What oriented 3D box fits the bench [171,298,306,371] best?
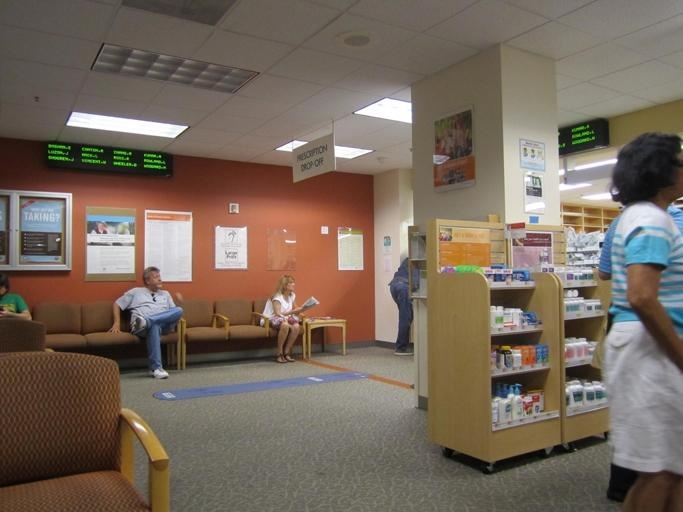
[{"bbox_3d":[-1.939,1.271,8.428,1.615,1.040,1.016,0,-1,-19],"label":"bench"}]

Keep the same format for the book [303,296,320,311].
[{"bbox_3d":[-0.565,0.870,9.058,0.221,0.040,0.385,33,-46,-14],"label":"book"}]

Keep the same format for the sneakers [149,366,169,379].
[{"bbox_3d":[-2.660,1.722,7.322,0.128,0.144,0.351,8,-11,-42],"label":"sneakers"}]

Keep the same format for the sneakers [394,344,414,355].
[{"bbox_3d":[1.150,1.756,9.213,0.459,0.203,0.169,-1,1,-21],"label":"sneakers"}]

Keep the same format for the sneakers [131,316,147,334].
[{"bbox_3d":[-2.996,1.041,7.416,0.134,0.187,0.408,-1,-25,-17],"label":"sneakers"}]

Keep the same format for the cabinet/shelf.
[{"bbox_3d":[1.481,0.785,4.173,1.980,2.050,0.669,1,-4,-39],"label":"cabinet/shelf"}]

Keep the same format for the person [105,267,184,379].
[{"bbox_3d":[-2.940,0.961,7.609,0.995,1.735,0.983,6,-15,-33],"label":"person"}]

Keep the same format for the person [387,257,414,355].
[{"bbox_3d":[1.087,0.930,9.119,0.390,1.740,0.711,0,-1,6],"label":"person"}]
